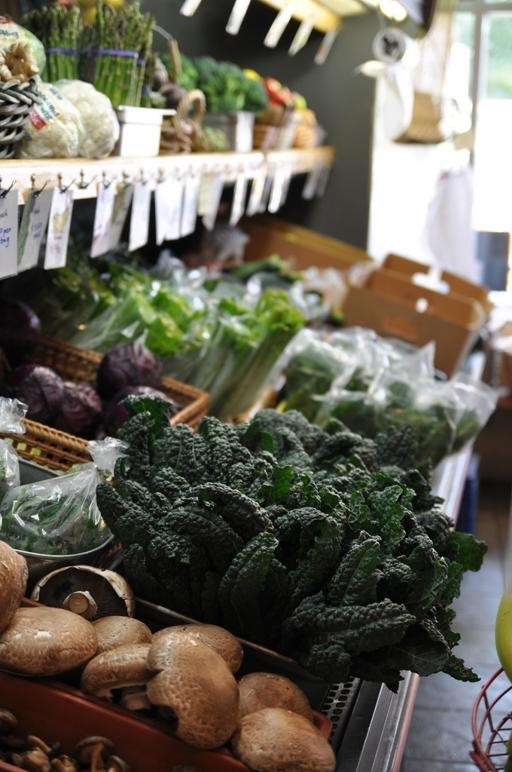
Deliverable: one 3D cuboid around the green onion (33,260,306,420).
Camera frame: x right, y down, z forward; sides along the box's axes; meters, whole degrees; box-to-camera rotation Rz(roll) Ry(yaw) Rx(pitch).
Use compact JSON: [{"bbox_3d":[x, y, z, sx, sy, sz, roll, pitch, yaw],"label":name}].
[{"bbox_3d":[-0.242,-0.181,1.696,0.612,0.245,0.499,17,14,17],"label":"green onion"}]
